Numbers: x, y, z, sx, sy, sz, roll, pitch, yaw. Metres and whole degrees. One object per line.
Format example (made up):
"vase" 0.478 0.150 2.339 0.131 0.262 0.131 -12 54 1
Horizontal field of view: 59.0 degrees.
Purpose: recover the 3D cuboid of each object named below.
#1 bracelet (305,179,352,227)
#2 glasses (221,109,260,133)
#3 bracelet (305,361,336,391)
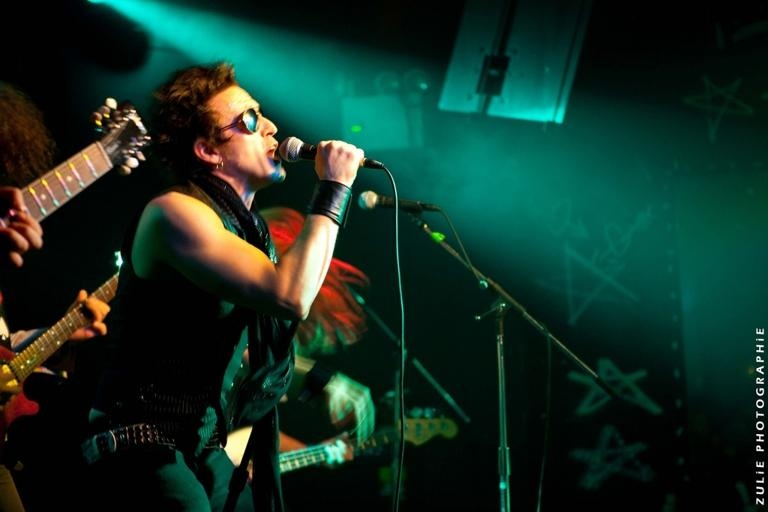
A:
"bracelet" -0.285 -0.307 3.825 0.258 0.223 0.226 13 -5 3
"glasses" -0.812 -0.750 3.846 0.167 0.064 0.136 -18 4 17
"bracelet" -0.440 0.820 4.620 0.123 0.224 0.122 9 -39 54
